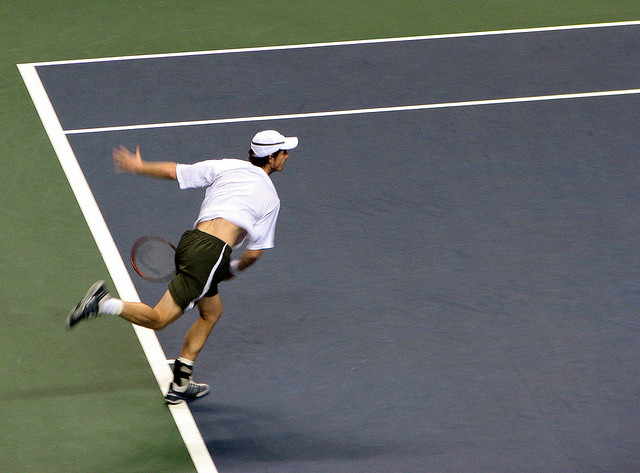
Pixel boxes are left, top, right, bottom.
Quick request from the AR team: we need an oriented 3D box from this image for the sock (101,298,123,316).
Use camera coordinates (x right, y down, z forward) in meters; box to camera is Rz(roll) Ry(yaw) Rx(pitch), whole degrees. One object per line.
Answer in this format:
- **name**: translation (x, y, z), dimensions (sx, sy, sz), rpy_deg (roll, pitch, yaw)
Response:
- **sock**: translation (-1.957, 0.653, 11.145), dimensions (0.200, 0.172, 0.103), rpy_deg (7, 89, 15)

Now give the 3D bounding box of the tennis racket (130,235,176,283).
- **tennis racket**: translation (-1.648, 0.194, 11.719), dimensions (0.444, 0.342, 0.439), rpy_deg (-11, 58, -2)
